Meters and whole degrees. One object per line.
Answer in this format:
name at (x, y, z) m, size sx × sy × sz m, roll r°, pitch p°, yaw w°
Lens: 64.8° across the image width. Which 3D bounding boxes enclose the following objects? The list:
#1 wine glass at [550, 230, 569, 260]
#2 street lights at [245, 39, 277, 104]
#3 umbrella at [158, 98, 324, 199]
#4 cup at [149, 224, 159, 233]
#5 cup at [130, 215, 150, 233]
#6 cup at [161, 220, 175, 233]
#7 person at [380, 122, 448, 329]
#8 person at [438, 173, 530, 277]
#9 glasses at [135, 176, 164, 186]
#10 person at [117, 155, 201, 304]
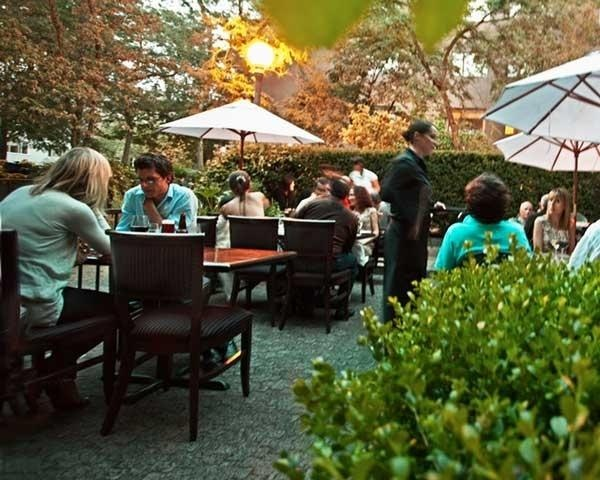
wine glass at (2.865, 0.050, 5.239) m, size 0.253 × 0.363 × 0.198 m, roll 4°, pitch 12°, yaw 31°
street lights at (-0.756, -3.112, 8.930) m, size 0.538 × 1.309 × 0.995 m, roll 1°, pitch 5°, yaw -6°
umbrella at (-1.068, -1.868, 8.184) m, size 1.860 × 1.395 × 1.934 m, roll 1°, pitch -3°, yaw 5°
cup at (-1.102, -0.084, 3.572) m, size 0.067 × 0.069 × 0.069 m, roll 0°, pitch 1°, yaw 0°
cup at (-1.227, -0.120, 3.619) m, size 0.128 × 0.138 × 0.135 m, roll -1°, pitch -1°, yaw 0°
cup at (-0.976, -0.102, 3.514) m, size 0.083 × 0.100 × 0.087 m, roll 1°, pitch 9°, yaw 0°
person at (1.080, -0.290, 4.714) m, size 0.611 × 1.824 × 0.422 m, roll 0°, pitch 5°, yaw -13°
person at (1.454, -0.075, 3.722) m, size 0.751 × 0.826 × 0.452 m, roll 1°, pitch 17°, yaw 23°
glasses at (-1.323, -0.507, 4.128) m, size 0.236 × 0.062 × 0.130 m, roll 5°, pitch 6°, yaw 26°
person at (-1.314, -0.101, 4.314) m, size 0.774 × 1.277 × 0.830 m, roll 0°, pitch 3°, yaw -13°
